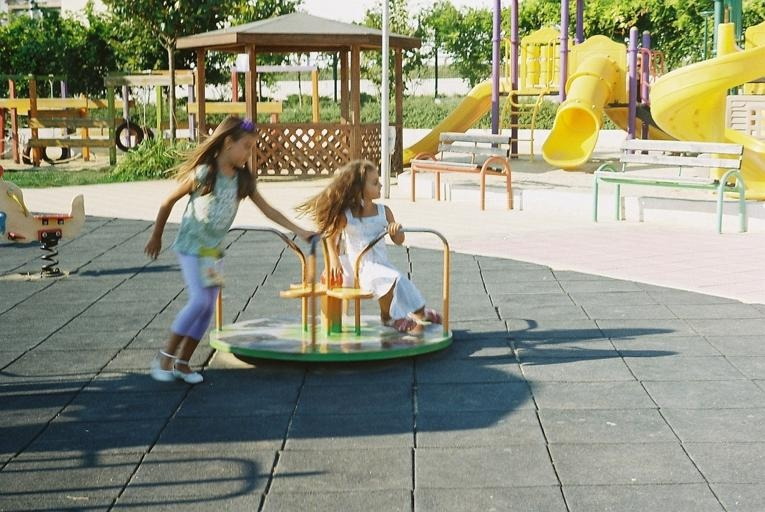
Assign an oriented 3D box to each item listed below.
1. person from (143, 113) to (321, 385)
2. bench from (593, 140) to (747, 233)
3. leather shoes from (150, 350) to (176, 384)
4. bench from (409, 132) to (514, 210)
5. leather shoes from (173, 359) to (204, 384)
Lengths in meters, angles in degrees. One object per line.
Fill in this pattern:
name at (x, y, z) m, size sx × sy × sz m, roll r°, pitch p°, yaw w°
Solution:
person at (-1.406, -0.042, 7.275) m, size 0.963 × 2.050 × 0.541 m, roll -2°, pitch 15°, yaw -8°
bench at (4.215, -1.060, 13.723) m, size 0.786 × 1.177 × 2.257 m, roll -15°, pitch 16°, yaw -36°
leather shoes at (-1.779, 0.897, 7.293) m, size 0.247 × 0.257 × 0.163 m, roll 5°, pitch -4°, yaw 0°
bench at (1.500, -1.601, 17.495) m, size 0.903 × 1.372 × 2.100 m, roll -6°, pitch 8°, yaw -39°
leather shoes at (-1.569, 0.937, 7.313) m, size 0.264 × 0.121 × 0.139 m, roll 18°, pitch 15°, yaw 30°
